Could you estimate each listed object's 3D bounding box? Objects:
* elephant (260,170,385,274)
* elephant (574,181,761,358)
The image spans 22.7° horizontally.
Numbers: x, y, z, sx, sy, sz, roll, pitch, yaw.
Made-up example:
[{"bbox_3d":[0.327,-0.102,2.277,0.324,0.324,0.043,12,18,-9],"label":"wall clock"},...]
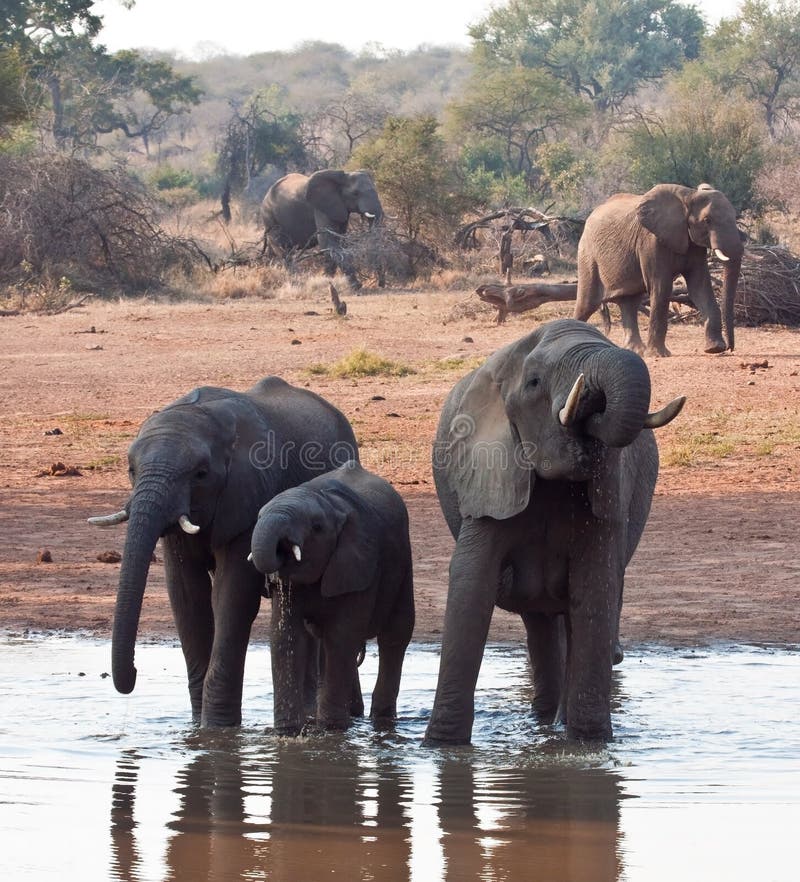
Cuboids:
[{"bbox_3d":[-1.368,-3.694,33.412,2.852,1.701,1.282,3,13,36],"label":"elephant"},{"bbox_3d":[2.879,-1.877,22.164,1.049,1.856,3.037,-4,4,-38],"label":"elephant"}]
